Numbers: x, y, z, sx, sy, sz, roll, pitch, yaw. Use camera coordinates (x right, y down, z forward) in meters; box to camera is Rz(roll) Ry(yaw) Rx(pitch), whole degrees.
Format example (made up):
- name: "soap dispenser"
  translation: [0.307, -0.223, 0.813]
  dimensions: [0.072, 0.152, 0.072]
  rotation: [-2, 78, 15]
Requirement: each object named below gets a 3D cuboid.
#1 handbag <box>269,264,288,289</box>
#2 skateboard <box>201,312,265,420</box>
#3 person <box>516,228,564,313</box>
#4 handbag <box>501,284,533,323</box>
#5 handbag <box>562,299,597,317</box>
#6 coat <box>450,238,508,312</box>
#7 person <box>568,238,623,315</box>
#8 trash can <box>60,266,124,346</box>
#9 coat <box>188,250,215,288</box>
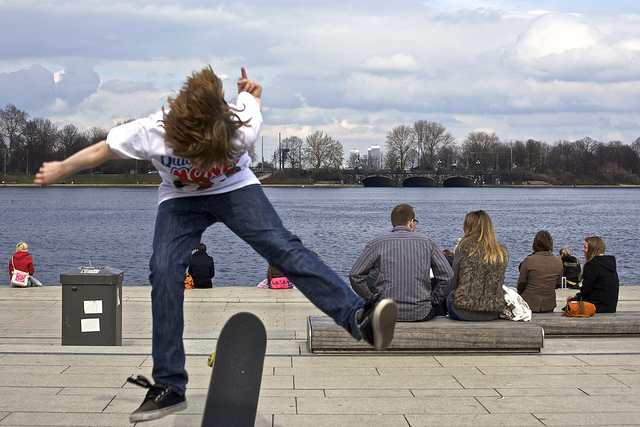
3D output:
- name: "handbag"
  translation: [-0.776, 1.242, 16.630]
  dimensions: [0.343, 0.327, 0.453]
  rotation: [0, 7, -4]
- name: "skateboard"
  translation: [-0.839, 1.559, 8.871]
  dimensions: [0.455, 1.292, 0.225]
  rotation: [7, 7, -11]
- name: "person"
  translation: [3.211, 0.903, 13.007]
  dimensions: [0.640, 1.236, 0.972]
  rotation: [3, 7, 14]
- name: "handbag"
  translation: [2.563, 1.188, 11.563]
  dimensions: [0.154, 0.500, 0.372]
  rotation: [-41, 4, 25]
- name: "handbag"
  translation: [3.530, 1.291, 12.008]
  dimensions: [0.388, 0.124, 0.240]
  rotation: [1, -4, -3]
- name: "coat"
  translation: [2.063, 0.818, 11.523]
  dimensions: [0.710, 0.963, 0.277]
  rotation: [2, 8, 10]
- name: "person"
  translation: [3.937, 0.876, 12.936]
  dimensions: [0.880, 0.961, 0.828]
  rotation: [1, 1, -4]
- name: "trash can"
  translation: [-2.880, 1.182, 11.223]
  dimensions: [0.742, 0.943, 0.450]
  rotation: [-1, 8, -13]
- name: "coat"
  translation: [-2.374, 1.144, 17.791]
  dimensions: [0.478, 0.624, 0.778]
  rotation: [0, 7, -9]
